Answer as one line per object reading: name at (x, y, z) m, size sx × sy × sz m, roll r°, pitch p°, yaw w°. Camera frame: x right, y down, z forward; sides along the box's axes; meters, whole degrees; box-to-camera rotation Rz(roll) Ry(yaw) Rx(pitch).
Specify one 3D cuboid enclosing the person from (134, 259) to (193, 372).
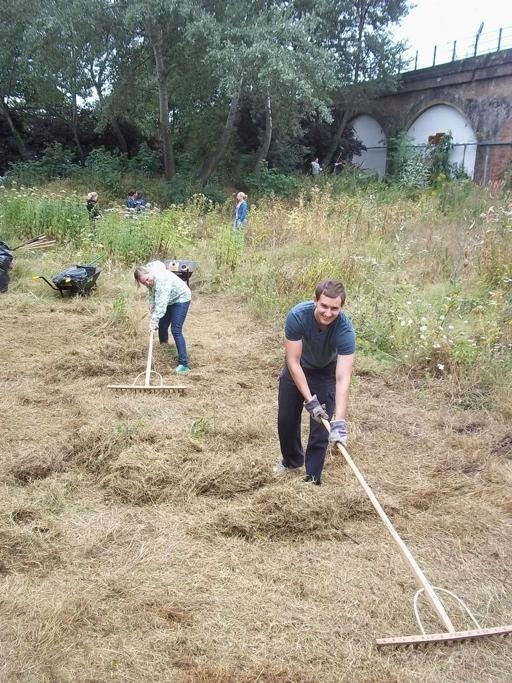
person at (-0.884, -0.249, 6.362) m, size 0.523 × 1.042 × 1.052 m, roll 3°, pitch 12°, yaw -6°

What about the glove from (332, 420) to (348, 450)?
glove at (0.461, 0.513, 3.667) m, size 0.098 × 0.167 × 0.190 m, roll 6°, pitch 12°, yaw 7°

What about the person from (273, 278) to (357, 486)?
person at (0.345, 0.290, 3.956) m, size 0.415 × 1.384 × 0.836 m, roll 5°, pitch 12°, yaw 2°

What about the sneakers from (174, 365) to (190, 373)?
sneakers at (-0.722, 0.268, 6.332) m, size 0.055 × 0.062 × 0.148 m, roll 8°, pitch 0°, yaw 38°

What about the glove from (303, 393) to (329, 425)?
glove at (0.363, 0.394, 3.867) m, size 0.074 × 0.104 × 0.176 m, roll -14°, pitch 53°, yaw -42°

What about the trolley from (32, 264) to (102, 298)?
trolley at (-2.323, -0.778, 8.527) m, size 0.419 × 0.276 × 0.777 m, roll 6°, pitch 18°, yaw 8°
